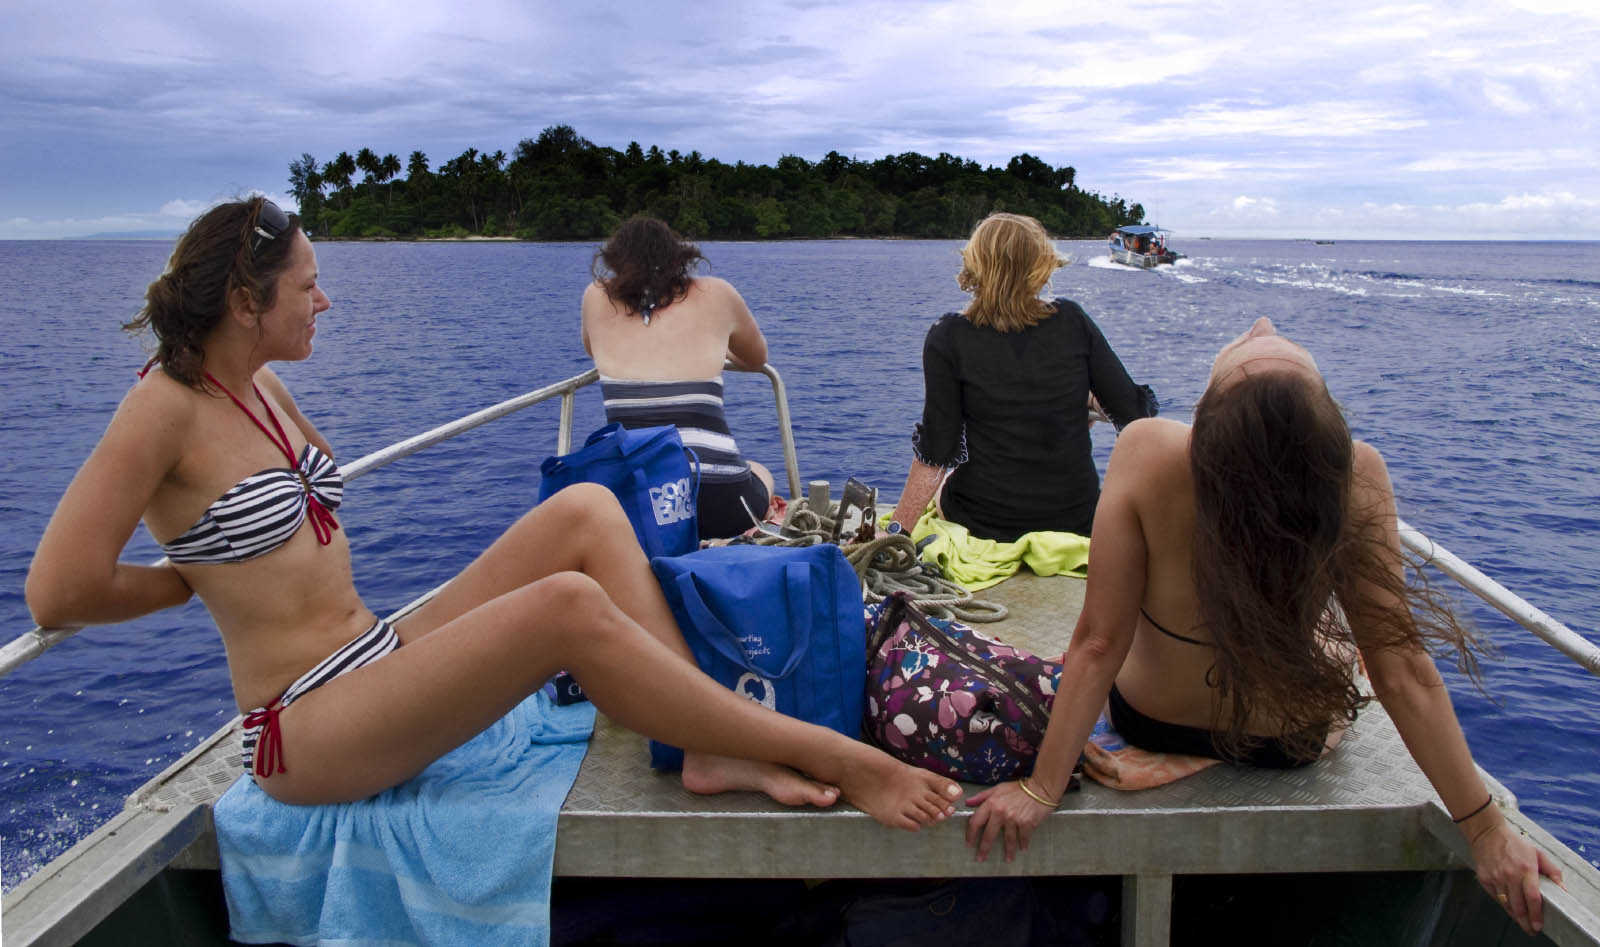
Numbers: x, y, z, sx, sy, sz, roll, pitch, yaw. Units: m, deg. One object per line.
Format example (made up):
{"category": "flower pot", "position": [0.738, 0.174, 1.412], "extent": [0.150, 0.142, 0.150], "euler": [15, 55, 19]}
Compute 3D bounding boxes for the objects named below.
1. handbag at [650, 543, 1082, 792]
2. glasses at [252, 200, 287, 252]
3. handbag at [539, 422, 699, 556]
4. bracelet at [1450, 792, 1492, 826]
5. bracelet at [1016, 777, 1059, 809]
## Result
{"category": "handbag", "position": [0.291, 0.630, 4.251], "extent": [1.233, 0.485, 0.980], "euler": [18, 18, 8]}
{"category": "glasses", "position": [-1.920, -0.903, 4.061], "extent": [0.107, 0.075, 0.169], "euler": [29, 52, -18]}
{"category": "handbag", "position": [-0.726, 0.080, 4.990], "extent": [0.662, 0.606, 0.538], "euler": [-20, 11, -22]}
{"category": "bracelet", "position": [2.336, 1.168, 3.854], "extent": [0.123, 0.030, 0.116], "euler": [-24, -8, -34]}
{"category": "bracelet", "position": [0.850, 1.152, 4.008], "extent": [0.120, 0.028, 0.093], "euler": [11, 8, -12]}
